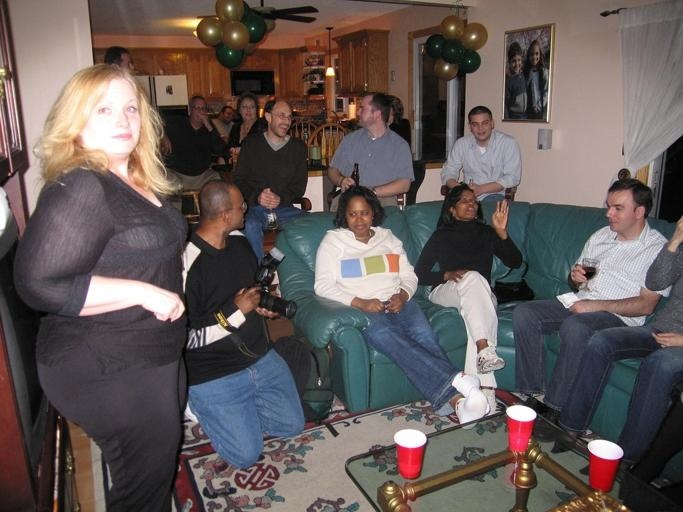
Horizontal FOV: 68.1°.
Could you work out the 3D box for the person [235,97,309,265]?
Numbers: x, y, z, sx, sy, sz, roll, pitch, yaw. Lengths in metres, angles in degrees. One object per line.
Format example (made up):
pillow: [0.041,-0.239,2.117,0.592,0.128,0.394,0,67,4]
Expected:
person: [-0.578,-0.526,4.358,0.623,1.545,0.880,-1,25,-13]

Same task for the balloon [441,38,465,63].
balloon: [1.264,-2.315,5.693,0.262,0.252,0.205,1,20,10]

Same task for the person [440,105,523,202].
person: [1.333,-0.877,4.899,0.779,1.056,0.774,3,29,22]

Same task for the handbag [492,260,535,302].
handbag: [1.184,0.219,3.441,0.194,0.075,0.188,-2,49,-4]

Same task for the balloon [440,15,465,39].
balloon: [1.245,-2.550,5.637,0.245,0.230,0.172,1,20,9]

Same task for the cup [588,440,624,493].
cup: [0.996,0.809,1.926,0.112,0.212,0.102,6,22,24]

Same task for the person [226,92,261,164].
person: [-1.127,-1.520,6.010,0.543,0.824,0.580,0,8,-8]

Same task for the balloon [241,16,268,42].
balloon: [-0.918,-2.371,5.394,0.236,0.236,0.270,-39,22,-14]

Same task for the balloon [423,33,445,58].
balloon: [1.076,-2.388,5.801,0.245,0.283,0.249,6,15,39]

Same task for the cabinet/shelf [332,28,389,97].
cabinet/shelf: [0.348,-3.365,8.959,0.482,1.086,1.319,-8,18,-22]

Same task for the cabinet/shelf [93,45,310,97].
cabinet/shelf: [-2.460,-3.870,10.878,4.144,1.317,0.574,-18,44,-37]

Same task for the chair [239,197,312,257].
chair: [-0.566,-0.226,4.345,0.483,0.589,0.416,0,-3,-15]

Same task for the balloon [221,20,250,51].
balloon: [-1.098,-2.286,5.224,0.287,0.267,0.259,-2,20,3]

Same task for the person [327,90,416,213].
person: [0.258,-0.836,4.460,0.780,1.118,0.678,4,30,9]

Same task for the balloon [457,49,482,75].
balloon: [1.496,-2.226,5.833,0.254,0.301,0.258,3,10,28]

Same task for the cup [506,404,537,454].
cup: [0.750,0.732,2.127,0.158,0.178,0.158,6,-25,3]

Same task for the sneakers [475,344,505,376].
sneakers: [0.855,0.606,2.883,0.101,0.090,0.196,-3,-3,-1]

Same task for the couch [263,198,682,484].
couch: [0.583,0.437,2.981,1.728,0.929,1.830,-5,18,-18]
